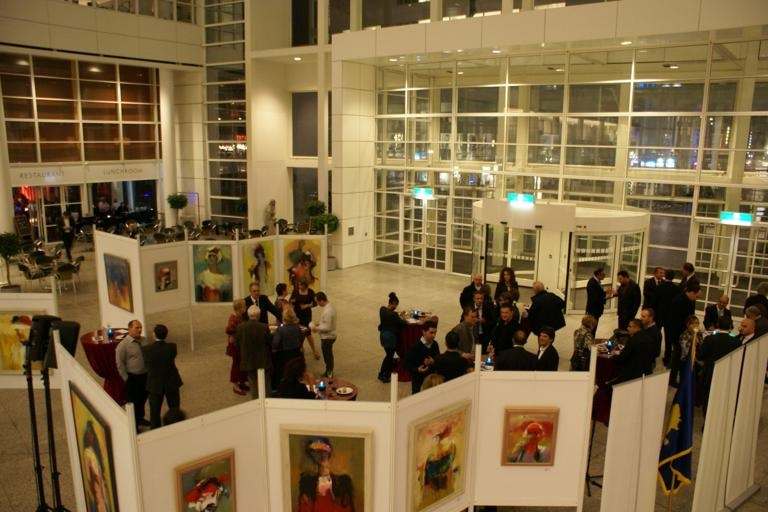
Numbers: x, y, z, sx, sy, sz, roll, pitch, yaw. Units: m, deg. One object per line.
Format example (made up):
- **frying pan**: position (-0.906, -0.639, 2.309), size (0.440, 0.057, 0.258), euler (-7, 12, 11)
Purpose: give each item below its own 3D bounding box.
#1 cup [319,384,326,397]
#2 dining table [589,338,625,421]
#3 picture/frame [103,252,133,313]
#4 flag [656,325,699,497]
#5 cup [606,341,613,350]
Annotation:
- **cup**: position (-1.013, 2.220, 9.604), size (0.146, 0.149, 0.143), euler (2, -6, 0)
- **dining table**: position (4.151, 2.386, 10.654), size (0.433, 1.479, 1.344), euler (2, 8, 24)
- **picture/frame**: position (-5.678, 0.520, 12.405), size (1.161, 1.134, 0.128), euler (15, 24, 42)
- **flag**: position (4.171, 2.300, 8.211), size (0.412, 2.442, 0.372), euler (2, 9, 27)
- **cup**: position (4.337, 1.711, 11.069), size (0.107, 0.050, 0.140), euler (6, 36, 21)
